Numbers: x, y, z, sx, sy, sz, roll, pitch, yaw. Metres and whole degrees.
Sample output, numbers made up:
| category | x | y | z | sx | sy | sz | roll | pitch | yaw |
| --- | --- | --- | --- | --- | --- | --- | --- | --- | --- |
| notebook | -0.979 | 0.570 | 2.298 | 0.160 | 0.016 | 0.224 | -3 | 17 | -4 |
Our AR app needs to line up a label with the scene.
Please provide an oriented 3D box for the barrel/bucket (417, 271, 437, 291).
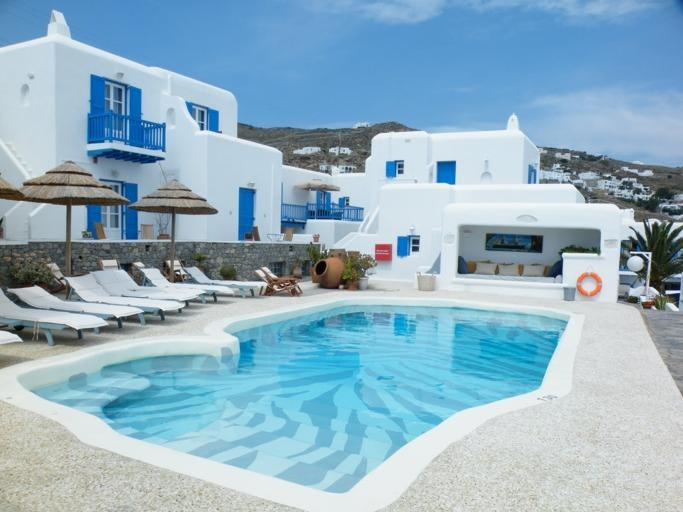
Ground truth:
| category | x | y | z | sx | sy | sz | roll | pitch | yaw |
| --- | --- | --- | --- | --- | --- | --- | --- | --- | --- |
| barrel/bucket | 2.940 | 0.878 | 16.910 | 0.547 | 0.580 | 0.623 | 0 | -7 | 1 |
